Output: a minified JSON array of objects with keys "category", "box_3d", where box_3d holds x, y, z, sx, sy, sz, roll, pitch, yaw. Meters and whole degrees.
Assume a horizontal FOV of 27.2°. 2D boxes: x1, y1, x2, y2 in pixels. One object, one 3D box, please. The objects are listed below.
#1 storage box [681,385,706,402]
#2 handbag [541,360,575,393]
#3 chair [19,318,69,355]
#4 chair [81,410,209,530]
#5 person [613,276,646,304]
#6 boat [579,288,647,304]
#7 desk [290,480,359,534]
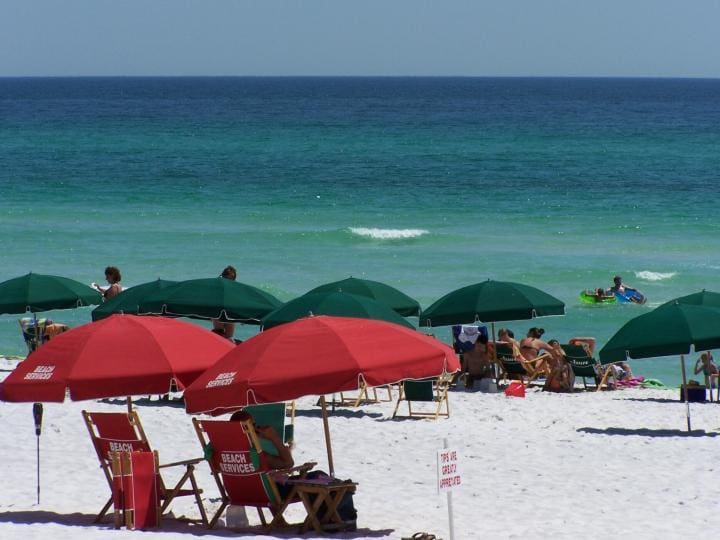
[{"category":"storage box","box_3d":[6.765,2.482,30.033,0.421,0.235,0.395,0,-3,1]},{"category":"handbag","box_3d":[4.067,2.209,30.655,0.542,0.555,0.374,15,-10,1]},{"category":"chair","box_3d":[-6.887,1.611,31.629,0.596,1.048,0.946,5,5,35]},{"category":"chair","box_3d":[-3.905,3.253,24.537,1.823,2.397,2.137,-3,-5,41]},{"category":"person","box_3d":[7.588,0.701,42.212,1.060,0.456,0.776,23,9,-3]},{"category":"boat","box_3d":[7.238,0.794,41.988,1.050,0.341,0.711,0,1,-26]},{"category":"desk","box_3d":[-0.629,3.829,24.461,0.942,0.820,0.919,0,-2,33]}]
